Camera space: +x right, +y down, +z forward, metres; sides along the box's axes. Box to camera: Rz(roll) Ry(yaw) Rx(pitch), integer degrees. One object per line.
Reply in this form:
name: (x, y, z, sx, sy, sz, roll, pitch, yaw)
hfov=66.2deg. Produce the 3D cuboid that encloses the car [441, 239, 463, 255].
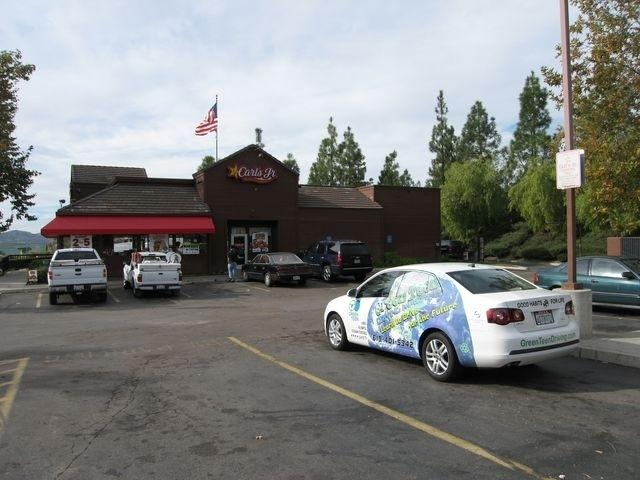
car: (11.671, 0.483, 43.904, 1.106, 0.979, 1.941, -2, 6, -26)

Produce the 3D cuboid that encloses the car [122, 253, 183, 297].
car: (-6.981, 1.339, 20.506, 1.425, 1.257, 3.089, 0, 6, -23)

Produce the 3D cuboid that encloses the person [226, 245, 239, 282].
person: (-4.585, 1.267, 25.826, 0.405, 1.719, 0.861, -1, 2, -16)

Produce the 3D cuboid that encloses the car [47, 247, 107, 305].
car: (-9.255, 1.311, 18.738, 1.884, 2.042, 2.306, -1, 2, -29)

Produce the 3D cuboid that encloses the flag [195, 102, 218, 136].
flag: (-8.122, -8.856, 35.634, 1.211, 2.526, 2.283, -1, 2, -15)

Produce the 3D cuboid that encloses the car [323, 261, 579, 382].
car: (2.022, 1.305, 9.045, 1.844, 1.436, 4.108, 0, 2, -35)
